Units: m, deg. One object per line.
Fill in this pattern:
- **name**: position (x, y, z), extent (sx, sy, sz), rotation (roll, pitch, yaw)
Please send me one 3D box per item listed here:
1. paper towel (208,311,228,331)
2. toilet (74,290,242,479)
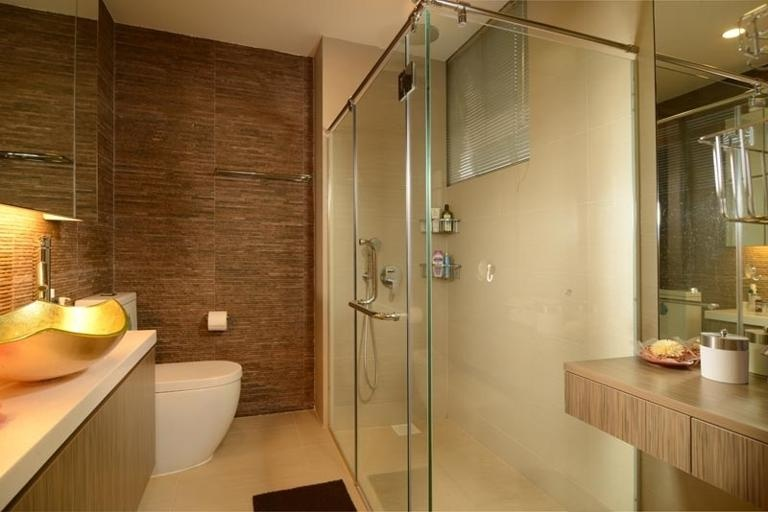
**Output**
- **paper towel**: position (-1.274, 0.495, 4.116), extent (0.194, 0.161, 0.139), rotation (1, -7, -11)
- **toilet**: position (-1.648, 0.923, 4.076), extent (1.206, 1.429, 0.978), rotation (0, -2, -27)
